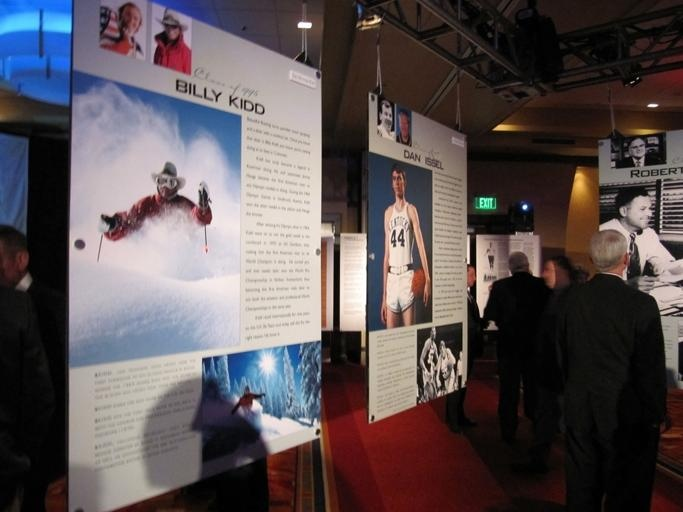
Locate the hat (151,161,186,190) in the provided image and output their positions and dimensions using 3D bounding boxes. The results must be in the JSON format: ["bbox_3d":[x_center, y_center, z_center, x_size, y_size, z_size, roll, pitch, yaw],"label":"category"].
[{"bbox_3d":[-0.931,-0.425,2.987,0.100,0.065,0.153,-1,-24,1],"label":"hat"}]
